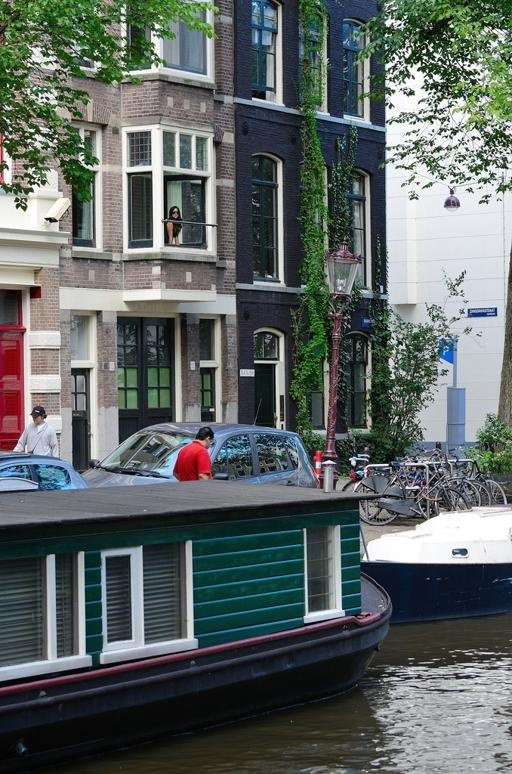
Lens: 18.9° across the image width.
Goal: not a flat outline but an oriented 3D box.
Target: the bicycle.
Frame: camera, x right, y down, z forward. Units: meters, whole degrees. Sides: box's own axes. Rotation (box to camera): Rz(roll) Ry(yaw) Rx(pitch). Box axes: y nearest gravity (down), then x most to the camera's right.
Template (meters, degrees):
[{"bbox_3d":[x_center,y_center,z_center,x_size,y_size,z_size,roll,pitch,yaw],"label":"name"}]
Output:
[{"bbox_3d":[2.286,1.353,21.196,2.433,1.298,1.024,-1,4,-2],"label":"bicycle"}]

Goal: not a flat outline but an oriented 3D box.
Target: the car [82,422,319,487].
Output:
[{"bbox_3d":[-0.446,0.751,16.658,1.029,0.899,1.846,-1,-8,44],"label":"car"}]
